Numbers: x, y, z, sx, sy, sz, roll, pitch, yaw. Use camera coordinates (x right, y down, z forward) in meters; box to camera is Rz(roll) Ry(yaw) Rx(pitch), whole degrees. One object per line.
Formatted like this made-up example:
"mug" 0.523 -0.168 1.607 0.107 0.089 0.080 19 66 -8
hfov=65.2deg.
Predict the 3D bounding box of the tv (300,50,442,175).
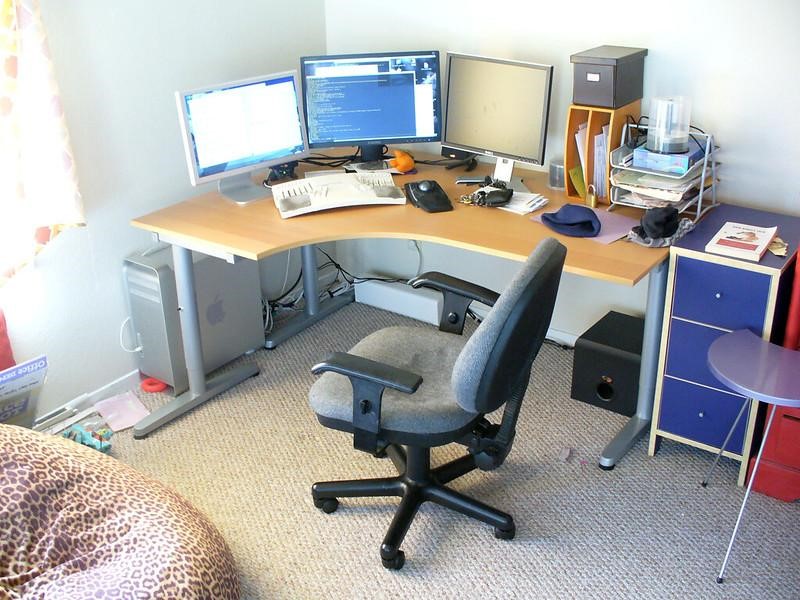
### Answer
"tv" -0.148 -0.964 3.188 0.711 0.529 0.216 -3 33 -2

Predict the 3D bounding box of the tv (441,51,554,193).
"tv" 0.492 -0.886 3.075 0.679 0.546 0.071 20 31 37

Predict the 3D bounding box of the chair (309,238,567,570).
"chair" 0.113 0.324 2.321 0.843 1.162 0.852 5 23 7

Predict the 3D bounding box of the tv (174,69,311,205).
"tv" -0.760 -0.780 2.991 0.167 0.500 0.585 27 40 37

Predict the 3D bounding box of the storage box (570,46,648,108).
"storage box" 0.948 -1.013 2.881 0.255 0.235 0.359 19 37 37

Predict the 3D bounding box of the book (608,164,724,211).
"book" 1.159 -0.496 2.736 0.453 0.223 0.316 9 28 18

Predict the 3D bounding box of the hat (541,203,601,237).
"hat" 0.724 -0.325 2.613 0.162 0.052 0.172 8 28 22
